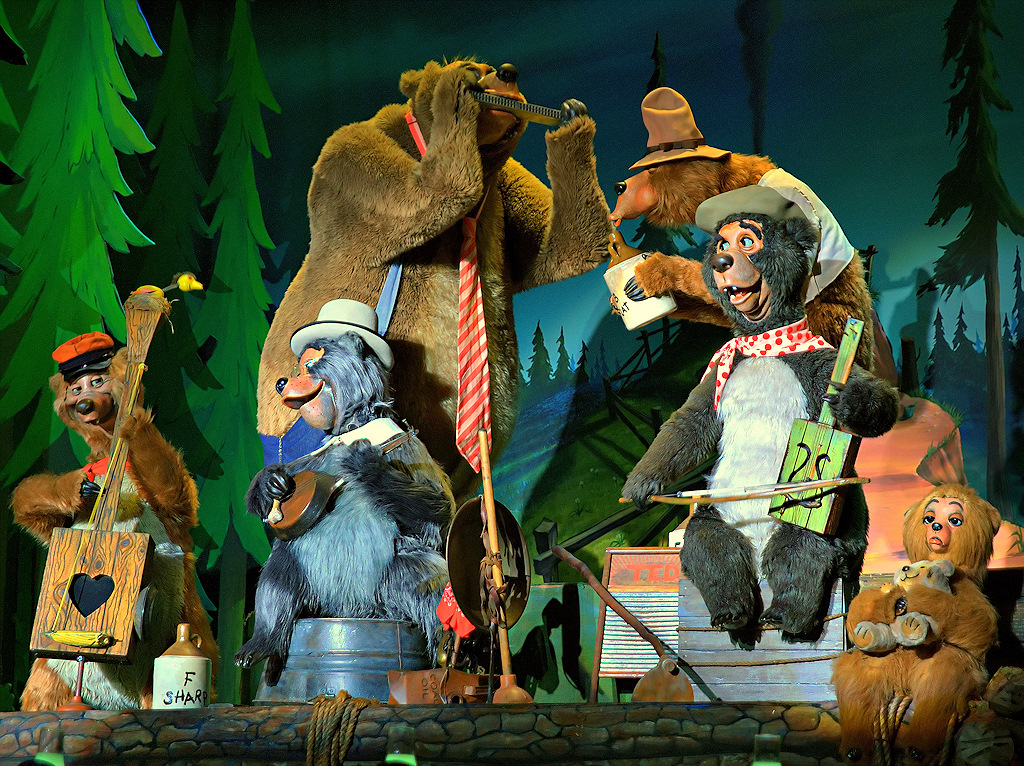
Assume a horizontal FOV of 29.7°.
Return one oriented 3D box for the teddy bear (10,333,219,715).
[{"bbox_3d":[-1.413,0.474,6.847,0.738,1.383,0.567,2,-15,-8],"label":"teddy bear"}]
